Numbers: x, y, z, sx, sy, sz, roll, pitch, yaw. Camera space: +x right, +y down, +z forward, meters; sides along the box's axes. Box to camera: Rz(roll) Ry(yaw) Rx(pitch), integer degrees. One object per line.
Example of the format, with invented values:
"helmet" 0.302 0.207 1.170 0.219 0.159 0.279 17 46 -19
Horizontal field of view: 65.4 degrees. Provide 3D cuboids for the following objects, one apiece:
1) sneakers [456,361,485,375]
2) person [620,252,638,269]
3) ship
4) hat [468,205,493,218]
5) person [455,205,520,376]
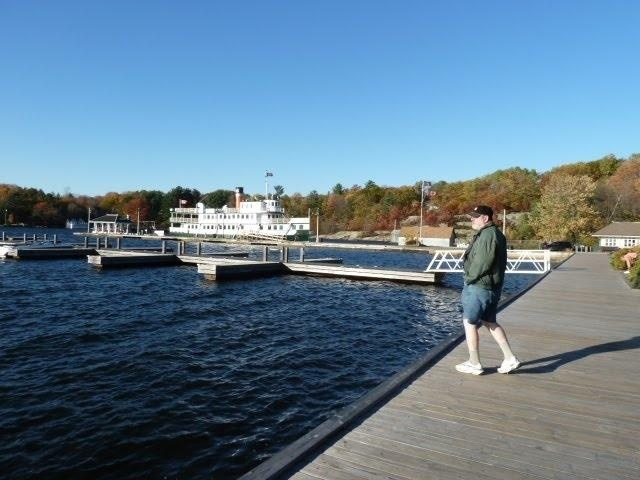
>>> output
"sneakers" 2.398 2.055 8.083 0.530 0.175 0.180 2 1 29
"person" 12.070 0.766 19.362 0.350 0.592 0.953 6 10 21
"ship" -10.363 -3.563 67.550 25.069 5.630 7.458 1 13 36
"hat" 2.548 -0.456 7.873 0.365 0.134 0.233 8 0 17
"person" 2.718 0.807 7.974 0.925 2.711 0.906 4 13 15
